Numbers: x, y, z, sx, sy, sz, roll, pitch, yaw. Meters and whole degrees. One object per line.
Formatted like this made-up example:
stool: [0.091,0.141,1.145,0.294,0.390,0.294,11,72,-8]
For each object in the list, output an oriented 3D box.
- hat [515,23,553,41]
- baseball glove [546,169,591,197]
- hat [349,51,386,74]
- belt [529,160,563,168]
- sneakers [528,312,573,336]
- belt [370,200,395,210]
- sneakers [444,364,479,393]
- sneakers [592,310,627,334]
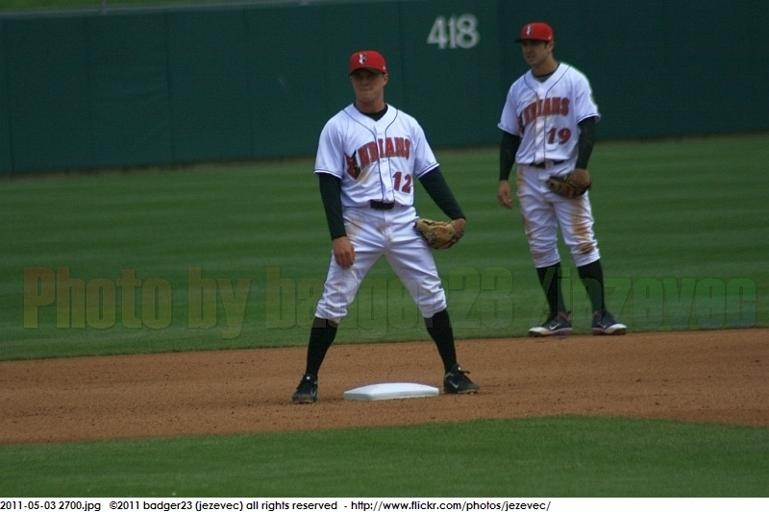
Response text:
hat: [1.659,-2.357,15.482,0.431,0.208,0.312,-6,10,-39]
baseball glove: [1.916,-0.759,15.383,0.366,0.280,0.168,-1,-32,30]
hat: [-0.136,-1.884,14.272,0.292,0.217,0.362,-3,1,29]
belt: [1.695,-0.969,15.484,0.168,0.058,0.135,-4,5,44]
sneakers: [1.791,0.743,15.679,0.565,0.247,0.192,-1,2,-1]
belt: [-0.017,-0.491,14.184,0.230,0.088,0.036,-3,1,-8]
sneakers: [0.681,1.242,14.466,0.166,0.206,0.459,-1,-3,-43]
sneakers: [2.402,0.713,15.535,0.430,0.207,0.175,-4,-1,43]
